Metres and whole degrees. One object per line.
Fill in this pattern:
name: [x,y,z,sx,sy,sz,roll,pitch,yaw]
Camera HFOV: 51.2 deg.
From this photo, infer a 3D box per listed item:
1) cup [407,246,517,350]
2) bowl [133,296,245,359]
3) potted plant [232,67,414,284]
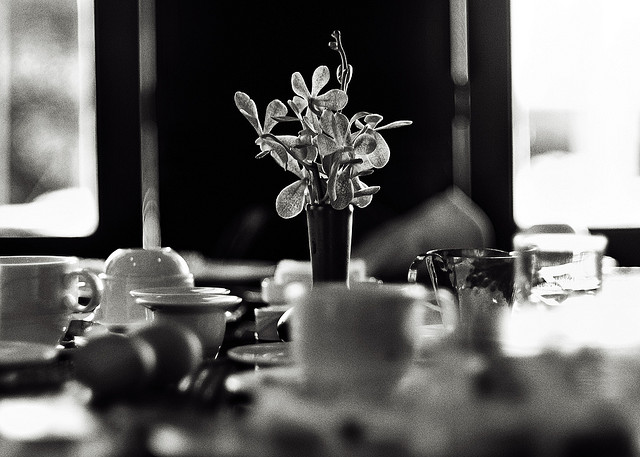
cup: [0.104,0.044,0.449,0.077,0.081,0.053,-2,-1,-10]
bowl: [-0.111,0.087,0.580,0.082,0.058,0.100,0,-1,24]
potted plant: [0.012,-0.041,0.699,0.214,0.250,0.163,-2,-2,35]
